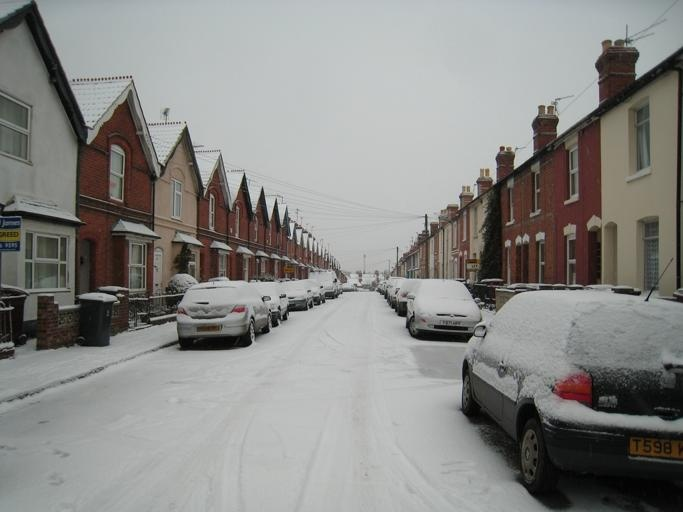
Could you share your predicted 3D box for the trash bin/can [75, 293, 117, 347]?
[{"bbox_3d":[-6.271,1.618,14.213,0.736,1.455,0.687,2,4,3],"label":"trash bin/can"}]
